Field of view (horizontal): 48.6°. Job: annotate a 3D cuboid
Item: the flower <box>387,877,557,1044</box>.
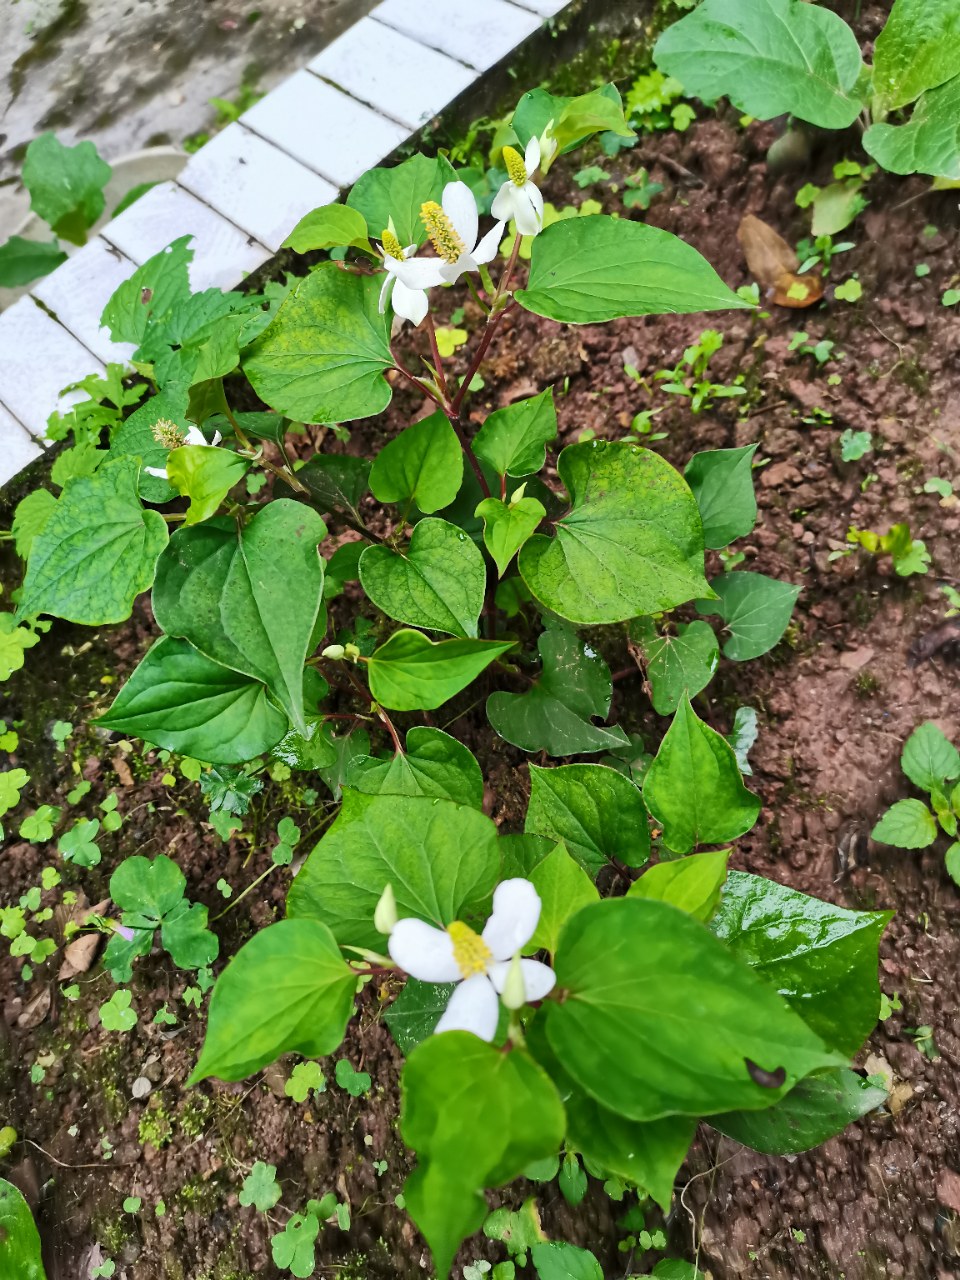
[{"bbox_3d":[-0.004,0.454,1.535,0.226,0.104,0.212,-27,45,-1],"label":"flower"}]
